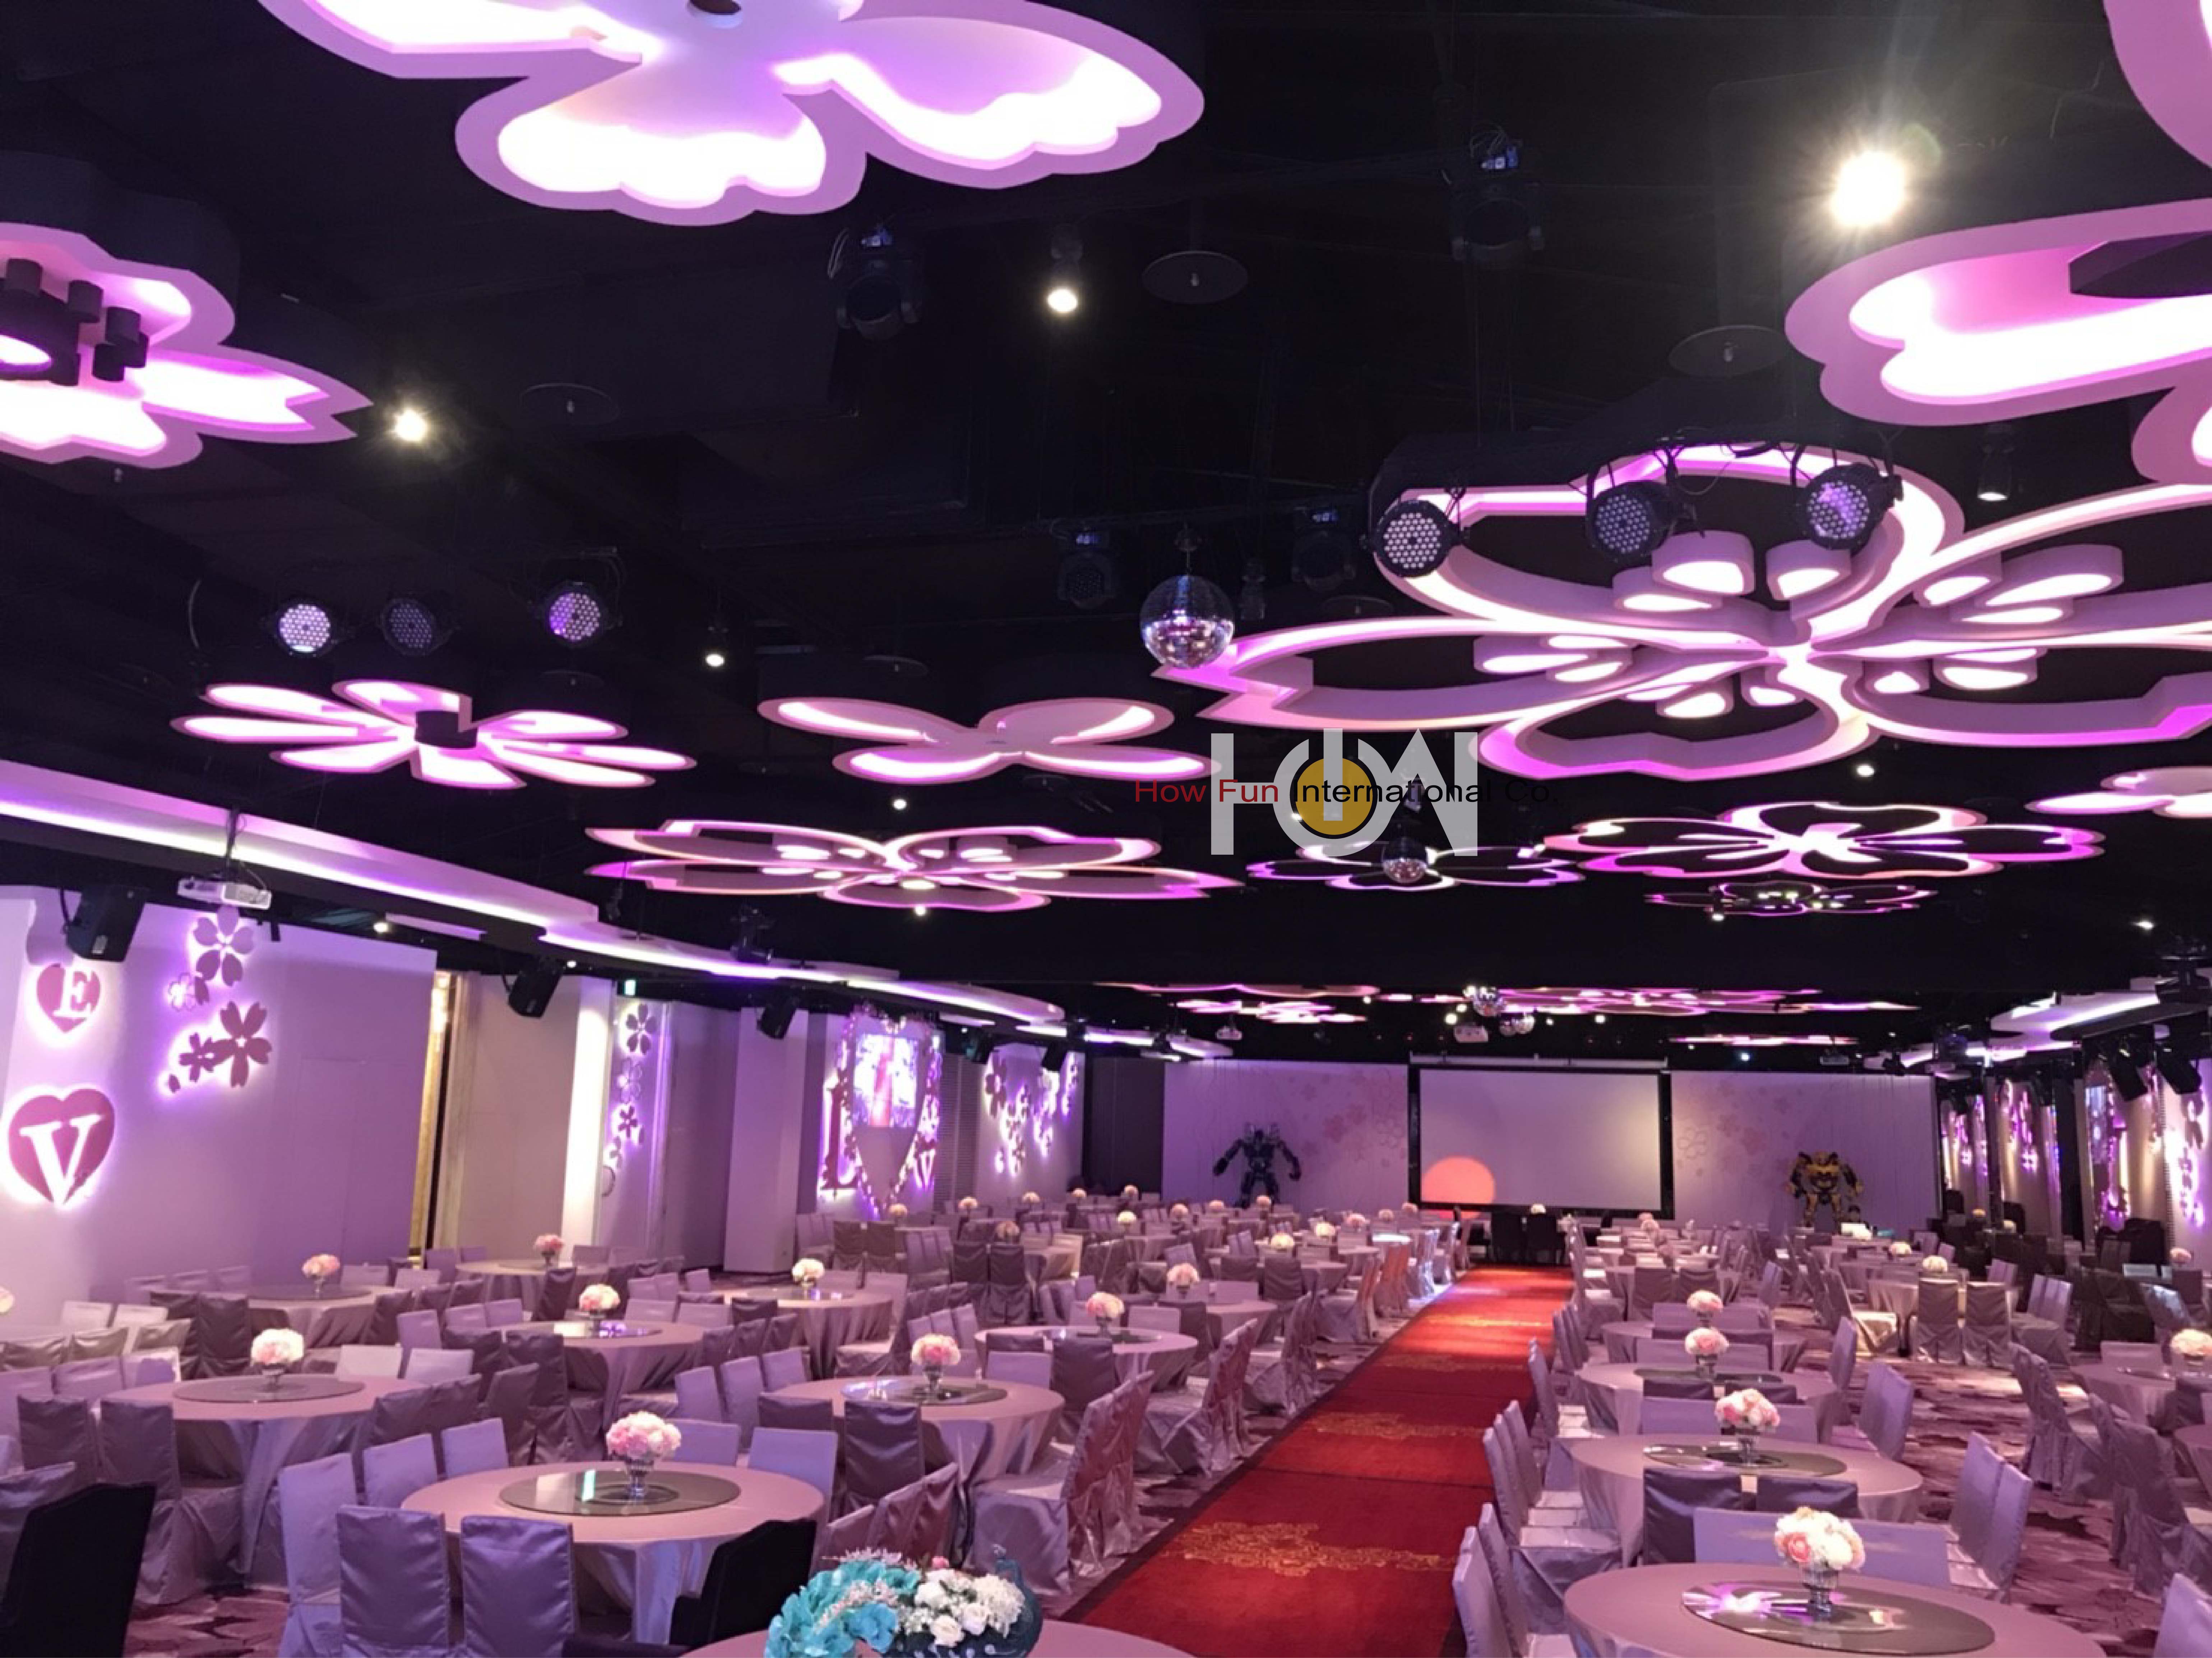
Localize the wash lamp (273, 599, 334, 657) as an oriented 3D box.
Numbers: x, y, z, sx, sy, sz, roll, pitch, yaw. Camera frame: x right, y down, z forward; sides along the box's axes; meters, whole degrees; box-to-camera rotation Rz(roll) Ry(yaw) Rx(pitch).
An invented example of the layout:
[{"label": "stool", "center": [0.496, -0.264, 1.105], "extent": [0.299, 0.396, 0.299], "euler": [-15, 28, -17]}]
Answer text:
[{"label": "wash lamp", "center": [-3.912, -0.965, 8.168], "extent": [0.250, 0.244, 0.181], "euler": [1, -12, -5]}]

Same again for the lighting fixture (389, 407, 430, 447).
[{"label": "lighting fixture", "center": [-2.882, -1.661, 6.925], "extent": [0.120, 0.033, 0.133], "euler": [-3, -34, -13]}]

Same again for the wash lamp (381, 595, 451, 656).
[{"label": "wash lamp", "center": [-3.467, -0.996, 8.369], "extent": [0.312, 0.280, 0.258], "euler": [7, -14, -28]}]

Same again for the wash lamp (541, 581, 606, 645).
[{"label": "wash lamp", "center": [-2.511, -1.012, 7.926], "extent": [0.280, 0.287, 0.130], "euler": [4, -12, -16]}]
